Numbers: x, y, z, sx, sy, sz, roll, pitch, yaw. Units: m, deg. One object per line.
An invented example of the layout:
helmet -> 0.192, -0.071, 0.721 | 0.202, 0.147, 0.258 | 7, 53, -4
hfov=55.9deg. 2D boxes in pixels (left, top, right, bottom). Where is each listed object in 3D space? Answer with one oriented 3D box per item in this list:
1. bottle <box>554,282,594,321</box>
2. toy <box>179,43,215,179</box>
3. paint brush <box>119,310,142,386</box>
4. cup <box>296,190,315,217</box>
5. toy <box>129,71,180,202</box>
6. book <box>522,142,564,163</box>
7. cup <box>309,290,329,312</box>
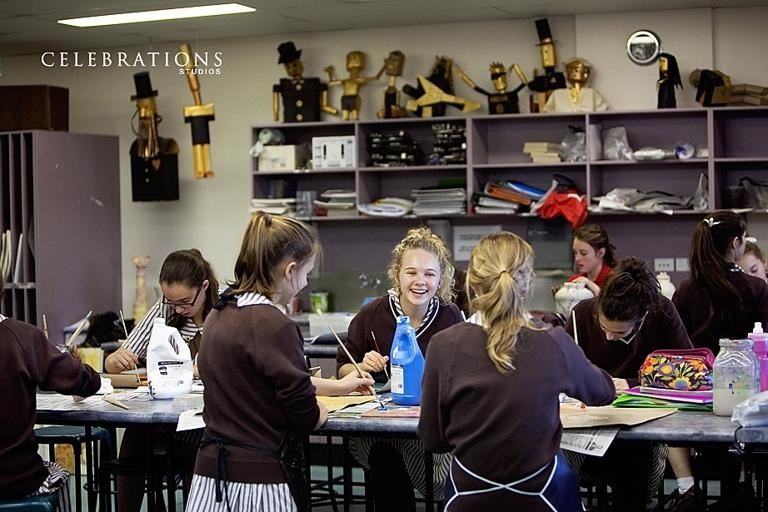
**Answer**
bottle -> 1.287, 0.287, 5.002 | 0.283, 0.310, 0.278 | -1, 2, 13
toy -> -1.684, -1.368, 6.624 | 0.263, 1.009, 1.136 | -3, 2, -14
paint brush -> -1.553, 0.570, 4.466 | 0.034, 0.471, 0.047 | -12, 12, -2
cup -> -0.713, -0.493, 6.819 | 0.230, 0.263, 0.235 | 1, 1, 0
toy -> -2.227, -1.142, 7.076 | 0.468, 1.057, 0.514 | -3, 2, -19
book -> 1.400, -0.901, 6.407 | 0.276, 0.137, 0.204 | 0, 2, 5
cup -> -0.608, 0.438, 6.990 | 0.180, 0.173, 0.182 | 0, -3, 0
